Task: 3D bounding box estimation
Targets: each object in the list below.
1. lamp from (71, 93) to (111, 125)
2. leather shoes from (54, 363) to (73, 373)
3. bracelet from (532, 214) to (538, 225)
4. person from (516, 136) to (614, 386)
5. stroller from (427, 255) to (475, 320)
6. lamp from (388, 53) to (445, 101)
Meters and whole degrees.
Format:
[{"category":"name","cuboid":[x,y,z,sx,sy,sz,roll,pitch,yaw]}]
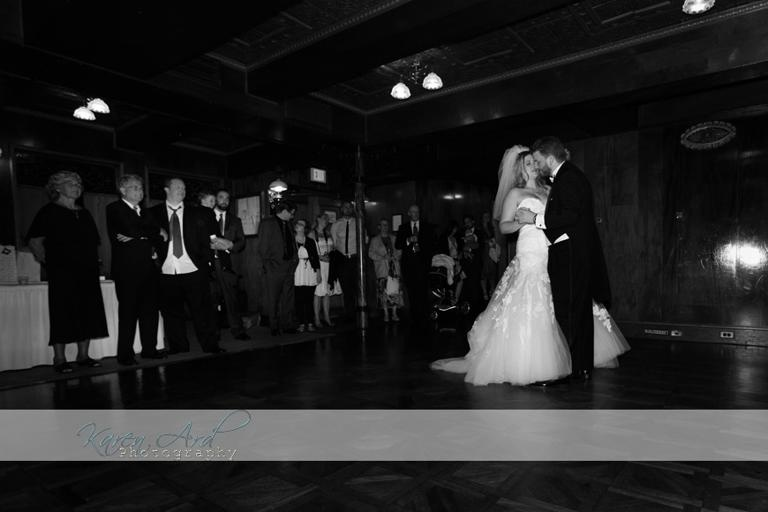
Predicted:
[{"category":"lamp","cuboid":[-4.235,-2.133,7.882,0.240,0.133,0.381,26,34,-2]},{"category":"leather shoes","cuboid":[-3.605,1.261,6.164,0.181,0.093,0.212,-4,7,-32]},{"category":"bracelet","cuboid":[1.547,-0.378,5.610,0.045,0.104,0.035,2,6,2]},{"category":"person","cuboid":[1.918,0.026,5.697,0.825,2.510,0.398,2,6,21]},{"category":"stroller","cuboid":[0.951,0.470,8.660,0.673,0.877,0.684,-18,19,-4]},{"category":"lamp","cuboid":[0.464,-2.599,7.867,0.522,0.437,0.237,-13,7,-9]}]
